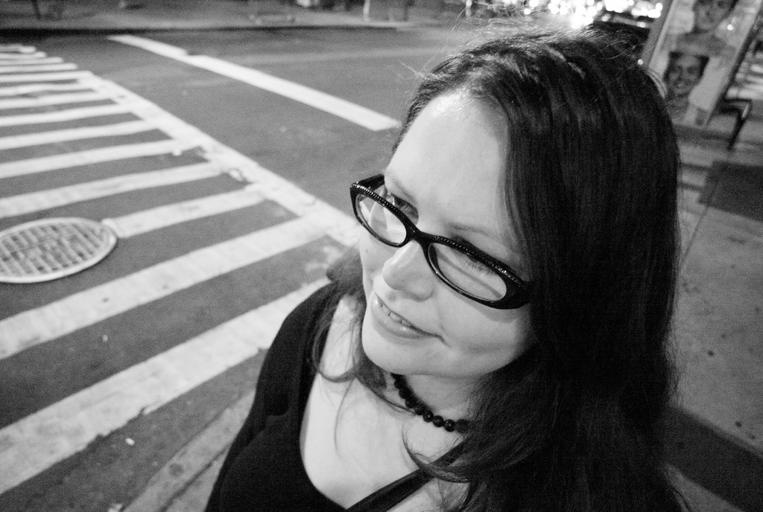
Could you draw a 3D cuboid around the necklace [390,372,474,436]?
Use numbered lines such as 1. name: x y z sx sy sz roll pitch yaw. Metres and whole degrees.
1. necklace: 0.240 0.762 2.734 0.305 0.045 0.228 34 28 2
